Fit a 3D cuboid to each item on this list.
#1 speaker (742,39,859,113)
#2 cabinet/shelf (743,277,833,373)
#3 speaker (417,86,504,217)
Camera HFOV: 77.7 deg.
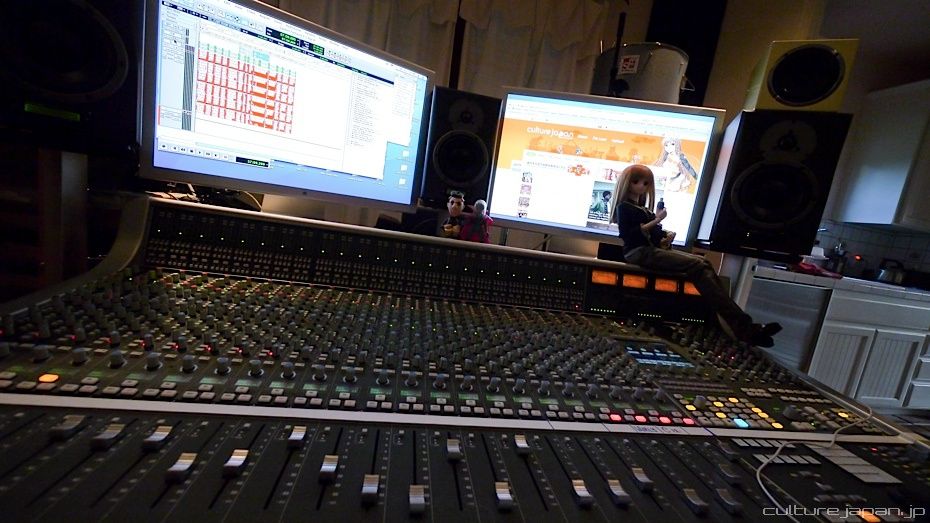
[{"bbox_3d":[2.015,-1.298,3.901,0.861,0.430,0.832,-1,23,-3],"label":"speaker"},{"bbox_3d":[2.887,0.547,5.112,0.560,0.743,0.463,13,16,33],"label":"cabinet/shelf"},{"bbox_3d":[-0.092,-0.773,4.098,0.562,0.783,0.488,6,4,-27],"label":"speaker"}]
